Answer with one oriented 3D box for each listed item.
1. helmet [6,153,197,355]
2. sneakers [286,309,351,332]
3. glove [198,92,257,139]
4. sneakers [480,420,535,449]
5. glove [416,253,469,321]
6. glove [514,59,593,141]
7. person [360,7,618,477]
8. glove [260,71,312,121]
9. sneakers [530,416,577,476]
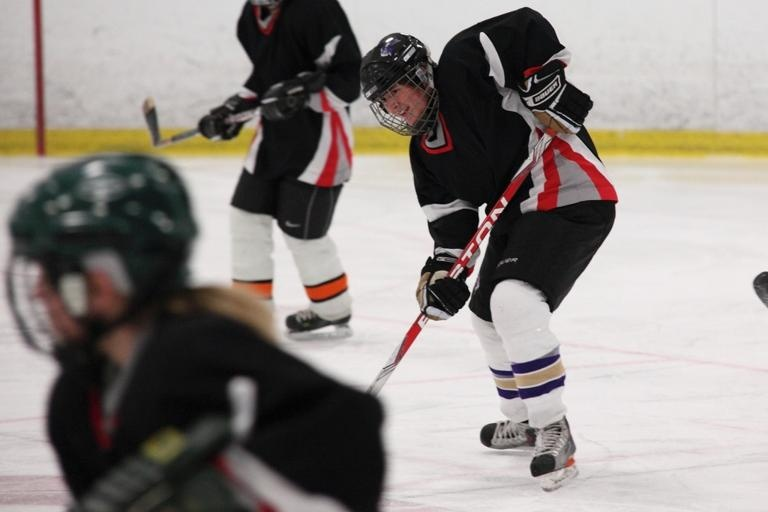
[{"bbox_3d":[-0.520,0.006,1.686,0.352,0.354,0.164,-4,25,-12],"label":"helmet"},{"bbox_3d":[-0.271,0.280,4.001,0.333,0.116,0.101,1,2,-2],"label":"sneakers"},{"bbox_3d":[-0.654,-0.589,3.872,0.263,0.107,0.176,-18,33,14],"label":"glove"},{"bbox_3d":[0.402,0.587,3.017,0.238,0.065,0.104,1,-9,-4],"label":"sneakers"},{"bbox_3d":[0.194,0.091,2.958,0.107,0.170,0.215,8,56,3],"label":"glove"},{"bbox_3d":[0.532,-0.492,2.794,0.253,0.169,0.101,34,6,-13],"label":"glove"},{"bbox_3d":[0.416,-0.073,2.932,0.537,1.360,0.959,-18,30,-34],"label":"person"},{"bbox_3d":[-0.361,-0.606,3.576,0.137,0.226,0.088,50,12,18],"label":"glove"},{"bbox_3d":[0.519,0.594,2.790,0.139,0.160,0.129,0,24,-1],"label":"sneakers"}]
